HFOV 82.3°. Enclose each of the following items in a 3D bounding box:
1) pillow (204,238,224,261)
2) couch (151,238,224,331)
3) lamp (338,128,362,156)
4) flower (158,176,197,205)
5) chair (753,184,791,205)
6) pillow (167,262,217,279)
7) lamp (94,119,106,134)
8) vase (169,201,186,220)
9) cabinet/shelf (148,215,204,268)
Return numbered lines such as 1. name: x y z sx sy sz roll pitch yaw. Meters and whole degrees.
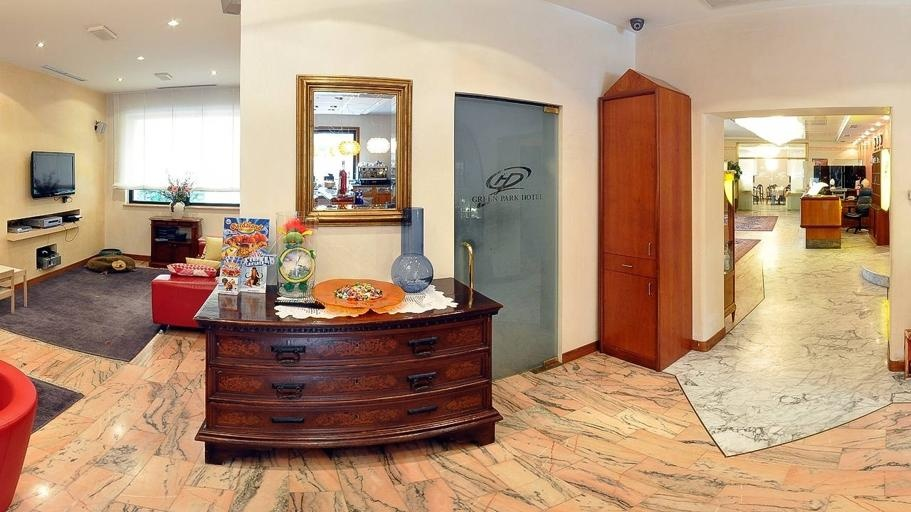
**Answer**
1. pillow: -4.088 -0.092 8.926 0.494 0.456 0.200 -2 -1 -24
2. couch: -4.095 0.448 8.082 0.908 0.905 1.443 3 11 -9
3. lamp: -1.183 -1.301 5.983 0.346 0.278 0.076 -6 10 -21
4. flower: -5.960 -1.405 11.433 0.537 0.648 0.610 -5 9 -29
5. chair: 13.839 -2.681 23.036 1.310 0.900 0.635 5 10 32
6. pillow: -4.036 0.250 8.134 0.788 0.213 0.203 4 -6 6
7. lamp: -7.738 -2.818 11.454 0.308 0.271 0.230 1 -1 23
8. vase: -5.941 -0.975 11.320 0.285 0.396 0.323 -4 9 -24
9. cabinet/shelf: -5.802 -0.272 10.957 1.417 1.222 0.575 1 2 4
